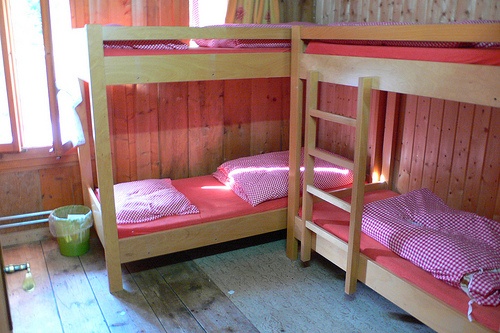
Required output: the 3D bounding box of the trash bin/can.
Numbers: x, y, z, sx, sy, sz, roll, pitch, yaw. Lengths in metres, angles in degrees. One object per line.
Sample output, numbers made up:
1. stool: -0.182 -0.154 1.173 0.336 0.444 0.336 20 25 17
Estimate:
1. trash bin/can: -1.641 0.597 3.558 0.393 0.375 0.372 -10 16 -36
